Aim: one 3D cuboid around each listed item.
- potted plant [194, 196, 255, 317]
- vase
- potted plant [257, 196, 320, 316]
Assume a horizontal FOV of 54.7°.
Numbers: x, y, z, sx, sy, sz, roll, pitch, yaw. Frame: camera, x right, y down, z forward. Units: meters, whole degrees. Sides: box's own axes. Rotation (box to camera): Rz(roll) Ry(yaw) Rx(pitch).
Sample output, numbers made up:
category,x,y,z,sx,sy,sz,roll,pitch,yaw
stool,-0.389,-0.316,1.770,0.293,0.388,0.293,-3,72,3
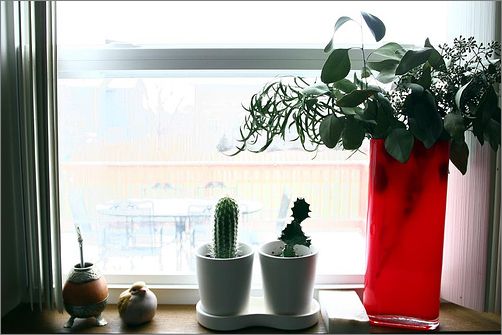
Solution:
category,x,y,z,sx,sy,sz,roll,pitch,yaw
potted plant,-0.082,0.302,1.688,0.198,0.392,0.210,0,-21,-4
vase,-0.548,0.422,1.610,0.167,0.220,0.173,0,-1,21
potted plant,0.126,0.299,1.660,0.186,0.386,0.198,6,2,5
